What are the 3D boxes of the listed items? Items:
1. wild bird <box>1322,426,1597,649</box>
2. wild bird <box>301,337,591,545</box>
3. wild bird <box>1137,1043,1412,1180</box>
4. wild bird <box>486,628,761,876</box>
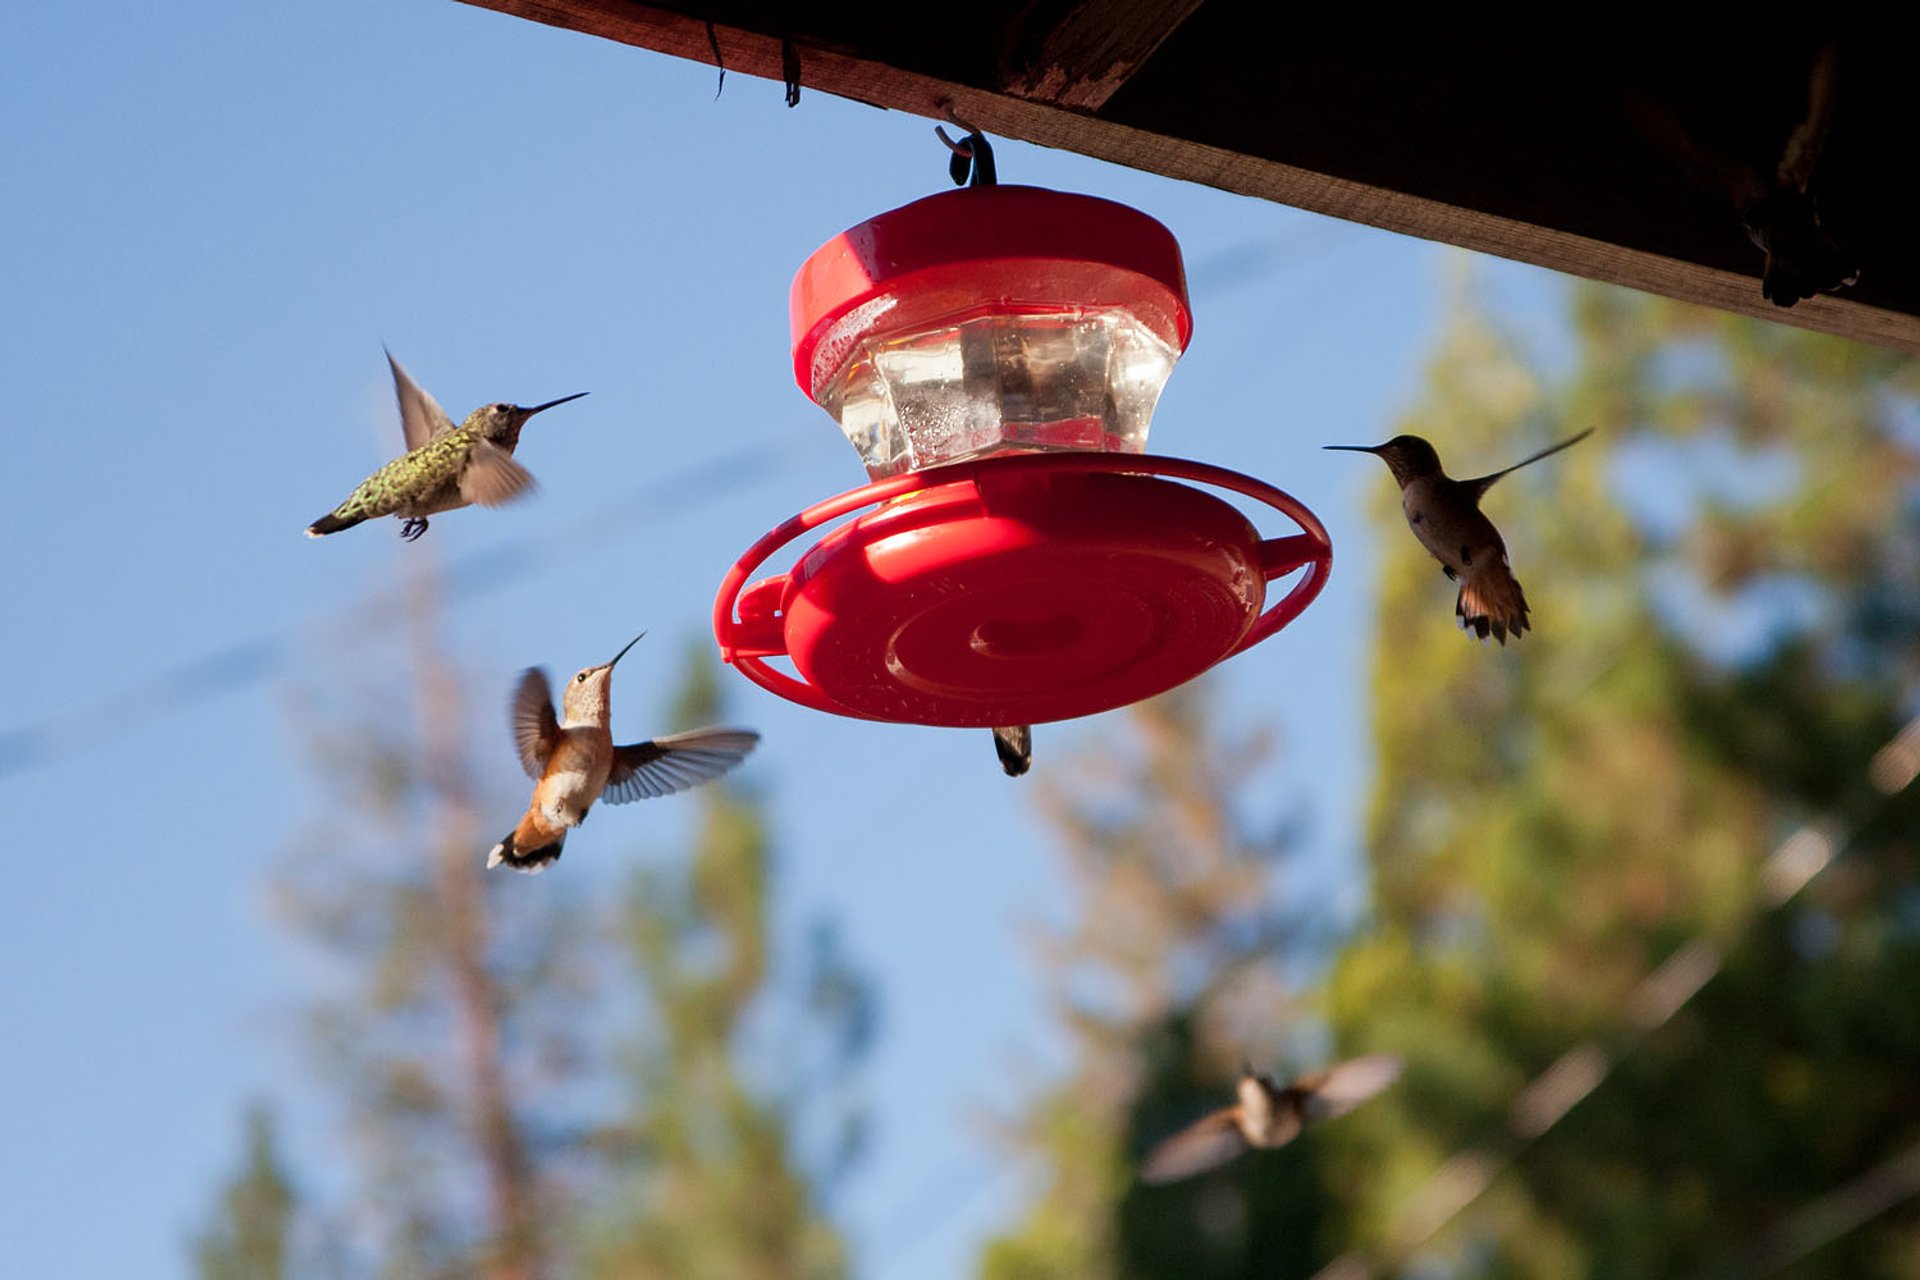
[{"bbox_3d":[1.597,-0.351,9.415,0.778,0.463,0.629,7,-22,15],"label":"wild bird"},{"bbox_3d":[-1.666,-0.625,9.227,0.707,0.760,0.352,-30,-13,22],"label":"wild bird"},{"bbox_3d":[1.135,1.753,11.110,1.069,0.380,0.172,-22,0,0],"label":"wild bird"},{"bbox_3d":[-1.255,0.381,9.553,0.701,0.889,0.373,-49,-33,-45],"label":"wild bird"}]
